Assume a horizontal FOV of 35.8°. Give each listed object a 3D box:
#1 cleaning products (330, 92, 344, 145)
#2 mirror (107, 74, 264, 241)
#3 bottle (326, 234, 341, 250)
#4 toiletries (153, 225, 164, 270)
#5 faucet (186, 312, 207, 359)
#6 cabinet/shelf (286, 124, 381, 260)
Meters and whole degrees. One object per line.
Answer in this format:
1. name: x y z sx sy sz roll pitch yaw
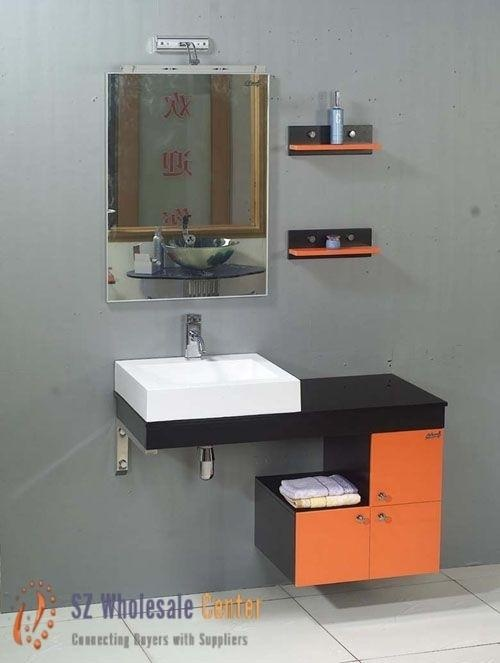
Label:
1. cleaning products: 0.330 -0.821 2.934 0.060 0.209 0.118 2 9 6
2. mirror: -0.260 -0.662 2.810 0.641 0.592 0.050 -2 8 -19
3. bottle: 0.324 -0.352 2.986 0.059 0.054 0.058 1 3 2
4. toiletries: -0.329 -0.322 2.872 0.037 0.141 0.037 -7 7 16
5. faucet: -0.211 0.018 2.889 0.066 0.172 0.070 -1 9 -8
6. cabinet/shelf: 0.328 -0.530 2.962 0.392 0.486 0.145 -4 14 -13
